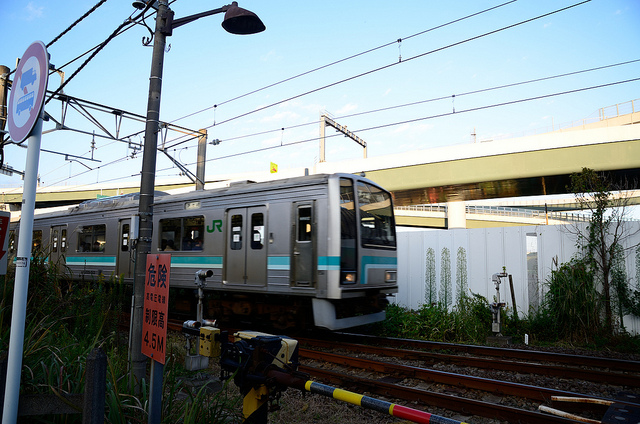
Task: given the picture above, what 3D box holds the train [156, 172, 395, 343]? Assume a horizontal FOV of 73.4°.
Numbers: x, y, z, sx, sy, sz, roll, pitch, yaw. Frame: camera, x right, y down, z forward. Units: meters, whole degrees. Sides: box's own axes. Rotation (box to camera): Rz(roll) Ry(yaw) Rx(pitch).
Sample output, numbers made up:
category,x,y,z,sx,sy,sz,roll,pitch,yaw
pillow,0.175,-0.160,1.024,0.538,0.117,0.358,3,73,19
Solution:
category,x,y,z,sx,sy,sz,roll,pitch,yaw
train,-2.346,1.318,12.981,9.408,3.723,2.797,-6,-11,40
